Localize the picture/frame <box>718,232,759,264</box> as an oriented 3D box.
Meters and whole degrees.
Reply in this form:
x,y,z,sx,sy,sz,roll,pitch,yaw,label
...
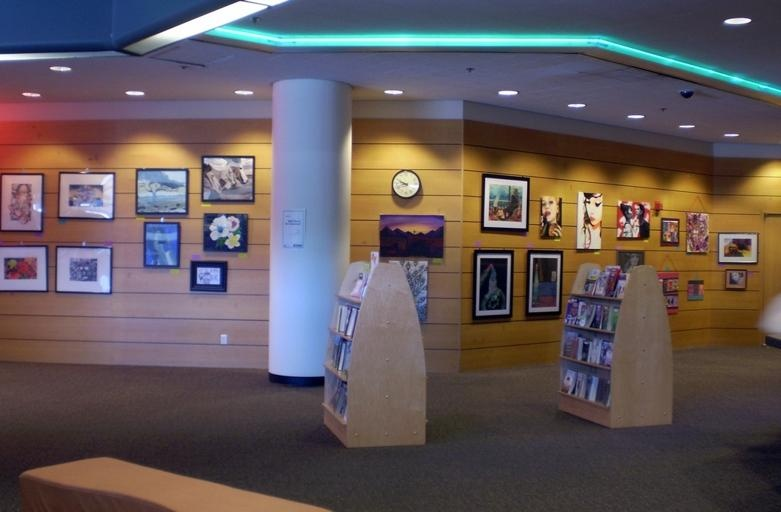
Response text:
x,y,z,sx,sy,sz,roll,pitch,yaw,label
6.716,-0.139,11.945,0.634,0.500,0.064,1,1,3,picture/frame

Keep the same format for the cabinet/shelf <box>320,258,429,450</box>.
x,y,z,sx,sy,sz,roll,pitch,yaw,label
-0.234,0.988,6.660,0.793,1.884,1.153,-3,7,-38,cabinet/shelf

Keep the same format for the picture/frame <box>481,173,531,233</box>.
x,y,z,sx,sy,sz,roll,pitch,yaw,label
1.752,-0.821,9.640,0.965,0.900,0.060,2,-3,-30,picture/frame

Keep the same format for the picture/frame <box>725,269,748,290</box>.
x,y,z,sx,sy,sz,roll,pitch,yaw,label
6.660,0.470,11.936,0.413,0.368,0.142,0,-3,8,picture/frame

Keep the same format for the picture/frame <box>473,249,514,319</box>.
x,y,z,sx,sy,sz,roll,pitch,yaw,label
1.560,0.439,9.533,0.741,1.051,0.133,-2,7,-29,picture/frame

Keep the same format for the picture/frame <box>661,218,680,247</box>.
x,y,z,sx,sy,sz,roll,pitch,yaw,label
5.135,-0.430,11.451,0.553,0.594,0.043,1,3,-22,picture/frame
